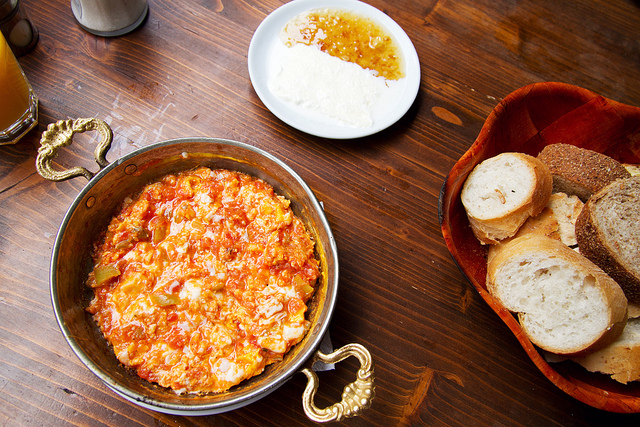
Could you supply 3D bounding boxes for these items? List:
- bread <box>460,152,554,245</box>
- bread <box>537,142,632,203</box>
[{"bbox_3d":[0.947,-0.111,3.164,0.414,0.271,0.378,-38,83,-19],"label":"bread"},{"bbox_3d":[1.366,-0.200,3.172,0.317,0.316,0.128,22,80,34],"label":"bread"}]
